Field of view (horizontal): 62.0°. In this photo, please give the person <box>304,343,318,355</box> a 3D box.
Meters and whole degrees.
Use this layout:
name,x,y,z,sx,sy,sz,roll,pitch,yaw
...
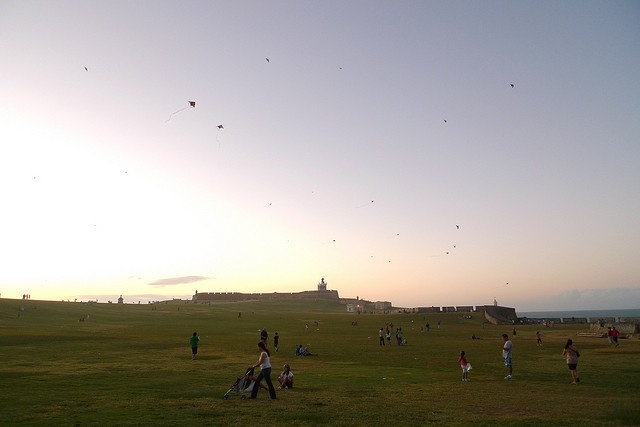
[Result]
name,x,y,z,sx,sy,sz,roll,pitch,yaw
person,-0.917,13.052,50.994,1.260,0.716,1.807,8,-12,-43

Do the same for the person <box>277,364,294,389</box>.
name,x,y,z,sx,sy,sz,roll,pitch,yaw
person,-2.125,10.148,33.311,0.907,1.418,1.048,1,-14,-3

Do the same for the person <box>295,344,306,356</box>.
name,x,y,z,sx,sy,sz,roll,pitch,yaw
person,-1.614,12.270,47.866,0.726,1.098,1.078,14,-10,-26
